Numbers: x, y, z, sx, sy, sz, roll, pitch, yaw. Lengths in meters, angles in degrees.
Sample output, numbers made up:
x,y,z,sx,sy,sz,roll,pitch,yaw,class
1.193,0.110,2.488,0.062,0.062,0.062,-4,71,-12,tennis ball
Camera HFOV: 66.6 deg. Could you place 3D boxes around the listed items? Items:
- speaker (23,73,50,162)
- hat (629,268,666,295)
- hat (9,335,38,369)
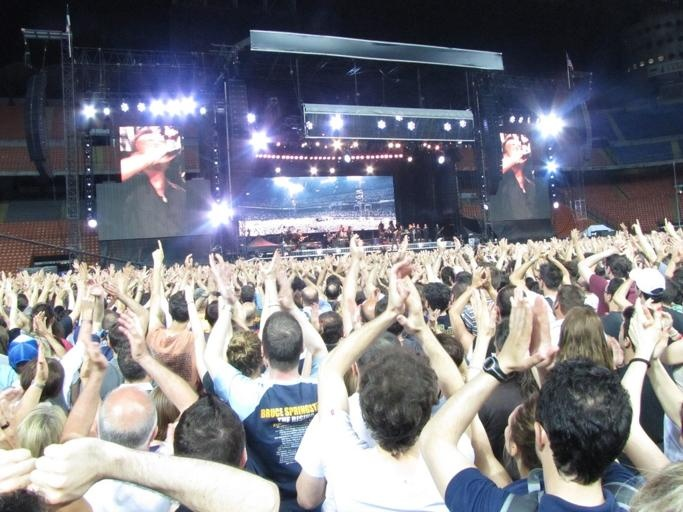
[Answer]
x,y,z,sx,sy,sz,roll,pitch,yaw,class
-9.591,-4.445,16.320,0.570,3.123,0.717,-3,0,-34,speaker
2.321,0.181,3.957,0.159,0.125,0.246,-11,46,-1,hat
-2.349,0.721,3.870,0.180,0.250,0.350,-3,1,-45,hat
